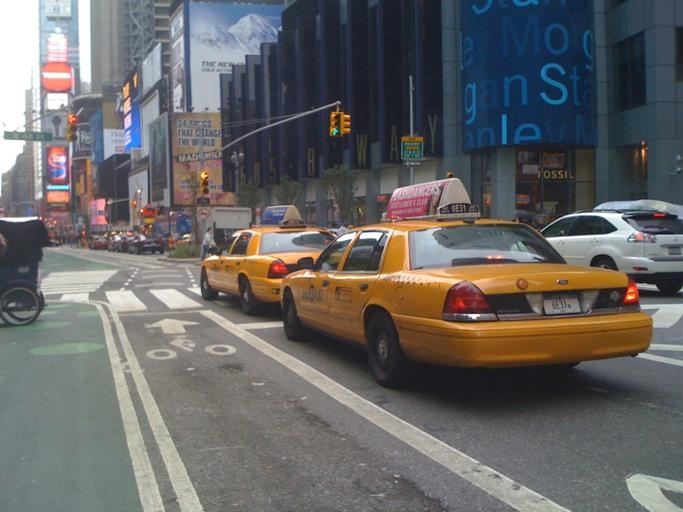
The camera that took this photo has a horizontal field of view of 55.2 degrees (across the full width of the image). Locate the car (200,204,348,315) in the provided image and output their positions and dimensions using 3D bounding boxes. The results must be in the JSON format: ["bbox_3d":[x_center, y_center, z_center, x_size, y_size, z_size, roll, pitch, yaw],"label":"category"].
[{"bbox_3d":[-1.629,0.140,13.910,1.586,1.571,3.666,-1,6,-22],"label":"car"}]

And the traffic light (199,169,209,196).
[{"bbox_3d":[-7.206,-3.867,34.393,0.427,1.234,2.183,-2,5,-13],"label":"traffic light"}]

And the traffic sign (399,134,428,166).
[{"bbox_3d":[3.015,-4.497,27.790,0.991,1.214,0.978,-2,5,-11],"label":"traffic sign"}]
